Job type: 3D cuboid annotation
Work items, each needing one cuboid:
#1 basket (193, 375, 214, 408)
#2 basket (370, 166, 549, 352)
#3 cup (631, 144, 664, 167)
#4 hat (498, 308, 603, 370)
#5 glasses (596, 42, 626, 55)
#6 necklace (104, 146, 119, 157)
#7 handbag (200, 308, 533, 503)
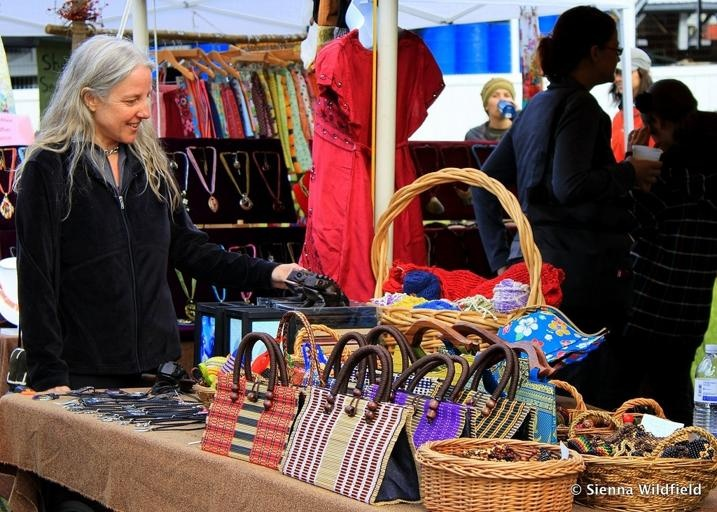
[{"bbox_3d":[-0.481,0.444,2.300,0.080,0.071,0.066,2,2,17],"label":"basket"},{"bbox_3d":[0.316,-0.018,2.752,0.617,0.706,0.722,-1,-1,-11],"label":"basket"},{"bbox_3d":[1.196,-0.423,2.995,0.093,0.077,0.104,6,-1,-45],"label":"cup"},{"bbox_3d":[0.576,0.232,2.126,0.219,0.094,0.239,-9,9,-18],"label":"hat"},{"bbox_3d":[1.057,-0.857,2.968,0.157,0.023,0.059,2,3,-37],"label":"glasses"},{"bbox_3d":[-0.911,-0.391,2.677,0.031,0.039,0.011,-9,40,-30],"label":"necklace"},{"bbox_3d":[-0.006,0.354,1.878,0.553,0.370,0.887,1,3,-44],"label":"handbag"}]
